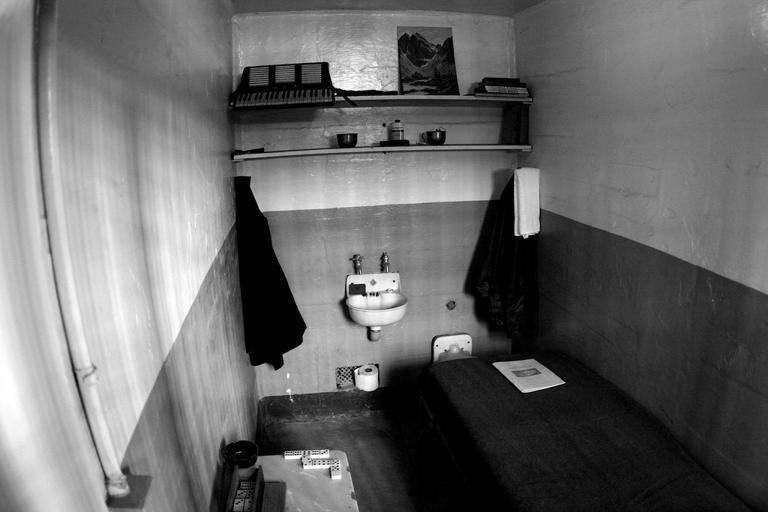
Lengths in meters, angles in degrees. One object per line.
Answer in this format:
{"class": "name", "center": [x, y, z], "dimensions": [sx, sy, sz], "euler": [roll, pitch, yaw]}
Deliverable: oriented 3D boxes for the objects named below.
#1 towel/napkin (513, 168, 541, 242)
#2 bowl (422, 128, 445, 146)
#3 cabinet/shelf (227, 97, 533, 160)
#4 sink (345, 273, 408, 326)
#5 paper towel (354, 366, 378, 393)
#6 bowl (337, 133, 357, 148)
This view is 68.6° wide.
{"class": "towel/napkin", "center": [0.979, -0.357, 3.848], "dimensions": [0.068, 0.461, 0.231], "euler": [-10, 10, -21]}
{"class": "bowl", "center": [0.328, -0.803, 3.829], "dimensions": [0.154, 0.096, 0.124], "euler": [1, 11, 22]}
{"class": "cabinet/shelf", "center": [0.094, -0.841, 3.801], "dimensions": [1.919, 0.422, 0.373], "euler": [-6, 13, -7]}
{"class": "sink", "center": [-0.060, 0.285, 3.995], "dimensions": [0.379, 0.307, 0.416], "euler": [-1, 8, -5]}
{"class": "paper towel", "center": [-0.124, 0.920, 4.174], "dimensions": [0.191, 0.217, 0.169], "euler": [-5, 14, -3]}
{"class": "bowl", "center": [-0.238, -0.736, 3.682], "dimensions": [0.110, 0.062, 0.106], "euler": [0, 1, 0]}
